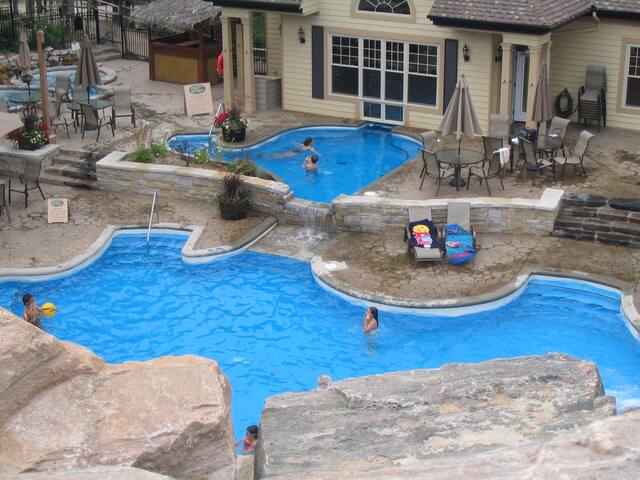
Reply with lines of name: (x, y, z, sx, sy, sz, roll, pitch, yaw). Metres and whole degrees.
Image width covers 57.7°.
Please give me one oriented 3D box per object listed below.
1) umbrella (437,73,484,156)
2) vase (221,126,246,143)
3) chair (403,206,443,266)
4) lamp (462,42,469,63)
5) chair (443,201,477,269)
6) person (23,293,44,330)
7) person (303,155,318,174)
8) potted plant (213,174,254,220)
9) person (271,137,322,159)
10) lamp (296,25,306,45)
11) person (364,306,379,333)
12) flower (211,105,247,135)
umbrella: (4.265, -3.986, 17.539, 1.137, 1.791, 0.607, -1, 5, 11)
vase: (-3.267, -4.056, 22.192, 0.766, 0.363, 0.667, 0, 18, 2)
chair: (2.901, -0.114, 16.057, 1.087, 0.860, 1.811, -1, -26, 17)
lamp: (5.431, -7.002, 21.559, 0.276, 0.661, 0.338, 0, 5, 15)
chair: (3.813, -0.217, 15.756, 0.858, 1.653, 1.211, -1, 5, 14)
person: (-6.450, 1.612, 13.022, 0.388, 0.864, 2.150, -4, 5, -25)
person: (-0.317, -2.680, 20.230, 0.529, 0.595, 0.824, -2, 5, -1)
potted plant: (-2.648, -1.329, 18.025, 1.049, 1.175, 0.966, 22, 41, 29)
person: (-0.857, -3.420, 21.818, 1.814, 0.705, 1.547, 0, 4, 12)
lamp: (-0.726, -8.560, 24.166, 0.334, 0.698, 0.382, -2, 5, -5)
person: (1.165, 1.827, 13.313, 0.325, 0.624, 0.288, -2, 5, 1)
flower: (-3.489, -4.529, 22.434, 1.374, 0.625, 1.137, -9, 35, -15)
